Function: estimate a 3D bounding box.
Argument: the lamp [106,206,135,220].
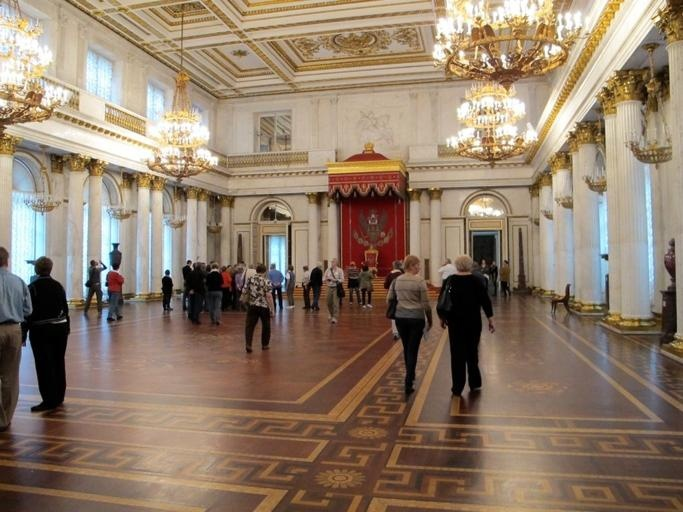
[{"bbox_3d":[-8.012,-1.573,19.818,0.722,0.407,0.729,2,-1,-37],"label":"lamp"}]

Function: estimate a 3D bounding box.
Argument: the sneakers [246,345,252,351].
[{"bbox_3d":[-1.786,1.765,10.407,0.104,0.120,0.085,-1,2,-6],"label":"sneakers"}]

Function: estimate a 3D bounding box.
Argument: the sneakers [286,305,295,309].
[{"bbox_3d":[-1.787,1.782,19.046,0.235,0.116,0.084,1,-2,18],"label":"sneakers"}]

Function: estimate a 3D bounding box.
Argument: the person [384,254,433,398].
[{"bbox_3d":[0.977,0.933,7.779,0.589,1.932,0.499,0,1,26],"label":"person"}]

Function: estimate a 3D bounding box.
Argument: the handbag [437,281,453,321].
[{"bbox_3d":[1.432,0.554,7.515,0.140,0.384,0.306,14,14,1],"label":"handbag"}]

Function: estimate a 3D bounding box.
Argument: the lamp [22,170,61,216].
[{"bbox_3d":[-9.529,-2.055,17.253,0.984,1.502,1.053,0,-2,-16],"label":"lamp"}]

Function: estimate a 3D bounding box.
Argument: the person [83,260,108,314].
[{"bbox_3d":[-7.648,0.930,16.686,0.576,1.677,2.589,-2,4,-24],"label":"person"}]

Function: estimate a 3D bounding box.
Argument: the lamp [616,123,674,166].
[{"bbox_3d":[5.886,-2.049,10.135,0.775,0.746,0.853,-9,8,2],"label":"lamp"}]

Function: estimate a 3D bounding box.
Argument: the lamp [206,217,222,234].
[{"bbox_3d":[-6.363,-1.505,26.732,0.494,0.461,0.576,-1,-4,-4],"label":"lamp"}]

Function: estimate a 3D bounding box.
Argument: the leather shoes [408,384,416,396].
[{"bbox_3d":[0.979,1.855,7.583,0.057,0.088,0.181,3,4,20],"label":"leather shoes"}]

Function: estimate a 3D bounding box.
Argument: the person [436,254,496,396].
[{"bbox_3d":[1.683,0.940,7.493,0.737,1.892,0.454,-1,3,1],"label":"person"}]

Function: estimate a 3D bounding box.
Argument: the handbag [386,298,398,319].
[{"bbox_3d":[0.718,0.739,7.672,0.152,0.385,0.348,8,-3,2],"label":"handbag"}]

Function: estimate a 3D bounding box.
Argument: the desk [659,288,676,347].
[{"bbox_3d":[6.155,1.098,10.204,0.234,1.078,0.538,1,4,30],"label":"desk"}]

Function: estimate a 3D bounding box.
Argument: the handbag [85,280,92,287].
[{"bbox_3d":[-7.449,0.813,15.881,0.119,0.232,0.244,-3,4,-34],"label":"handbag"}]

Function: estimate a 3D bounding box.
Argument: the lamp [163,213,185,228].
[{"bbox_3d":[-7.211,-1.526,23.596,0.720,0.546,0.775,-1,-5,12],"label":"lamp"}]
